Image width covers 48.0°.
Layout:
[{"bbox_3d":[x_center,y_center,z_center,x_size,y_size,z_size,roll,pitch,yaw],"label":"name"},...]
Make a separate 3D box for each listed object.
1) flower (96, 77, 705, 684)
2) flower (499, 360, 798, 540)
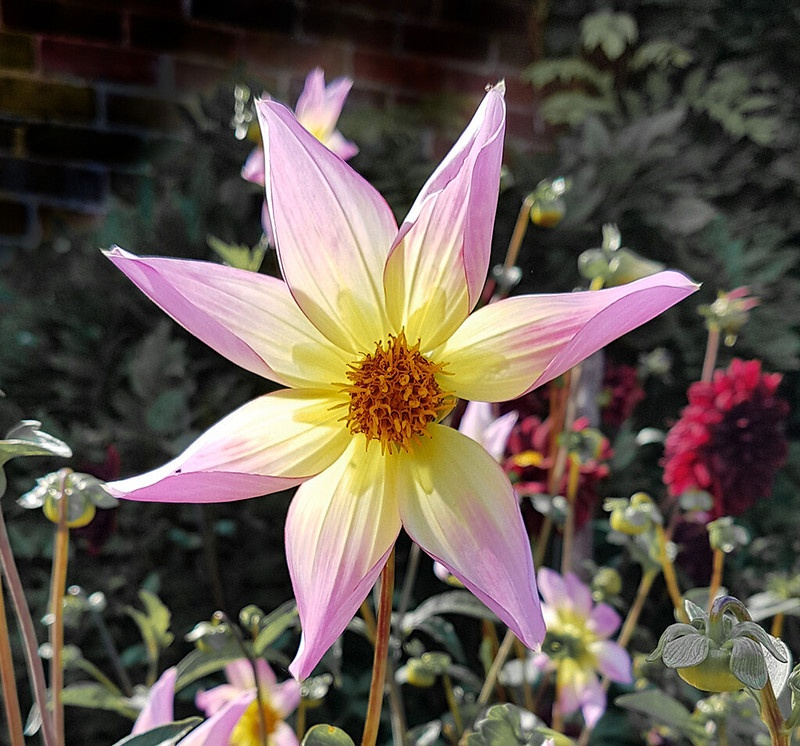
[{"bbox_3d":[0.000,-0.003,0.649,0.409,0.386,0.205,-1,17,14],"label":"flower"},{"bbox_3d":[0.282,0.120,1.041,0.277,0.185,0.197,5,-12,9],"label":"flower"}]
